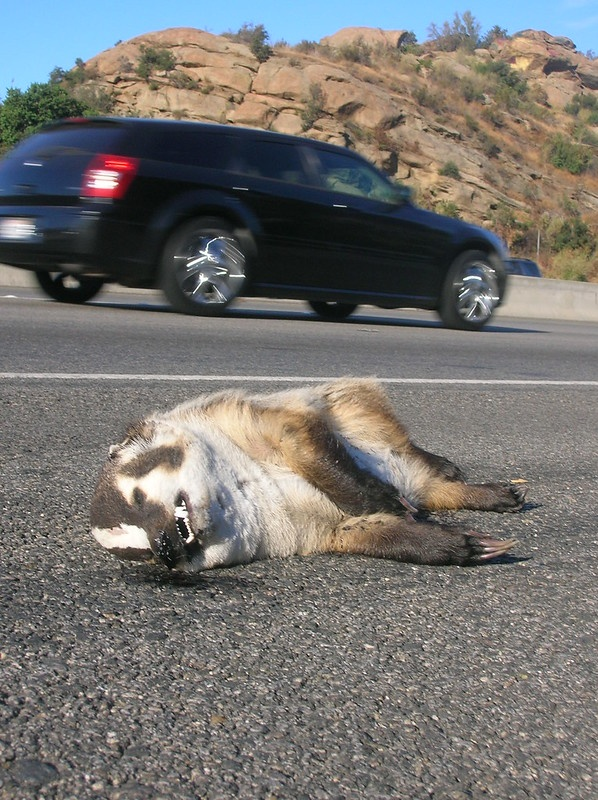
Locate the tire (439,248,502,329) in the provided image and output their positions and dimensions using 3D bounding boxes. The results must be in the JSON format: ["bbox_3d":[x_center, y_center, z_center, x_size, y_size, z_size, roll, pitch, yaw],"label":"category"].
[{"bbox_3d":[1.973,-1.105,9.490,0.223,0.573,0.635,-30,-4,32],"label":"tire"}]

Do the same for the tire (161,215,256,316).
[{"bbox_3d":[-0.830,-1.268,7.459,0.904,0.793,0.310,15,12,-42],"label":"tire"}]
